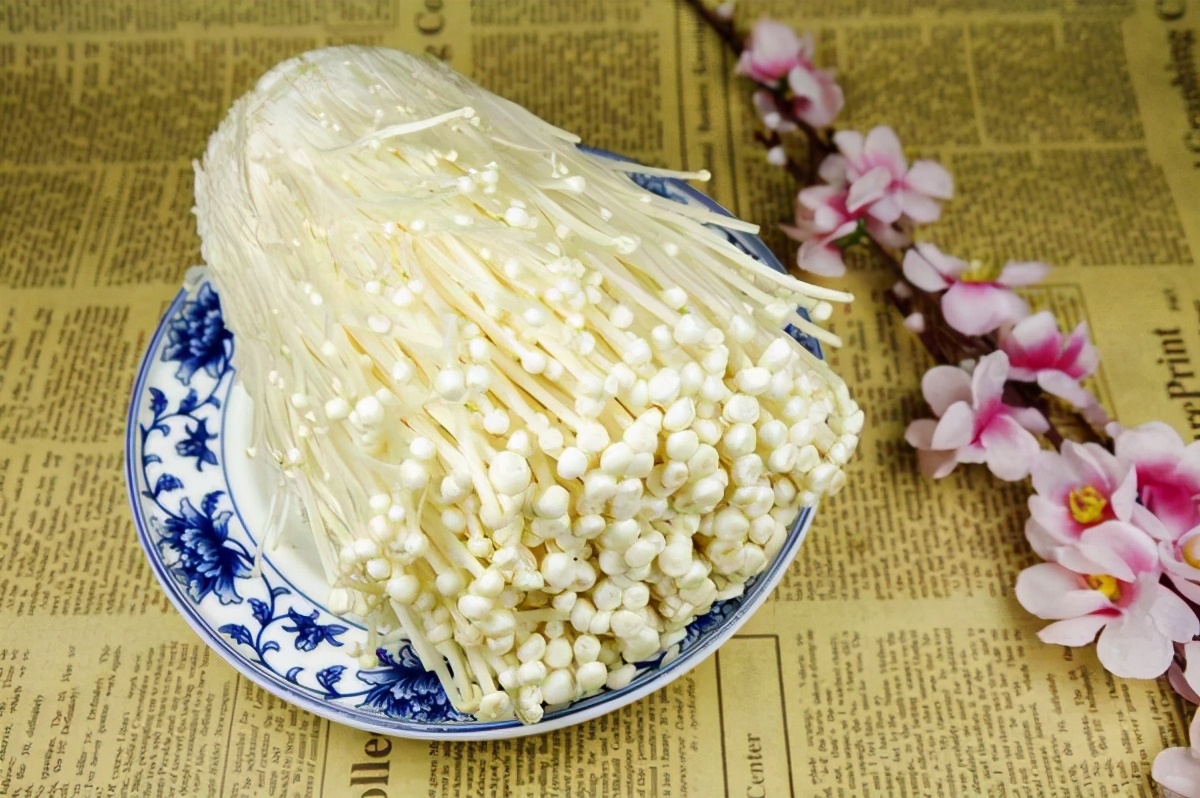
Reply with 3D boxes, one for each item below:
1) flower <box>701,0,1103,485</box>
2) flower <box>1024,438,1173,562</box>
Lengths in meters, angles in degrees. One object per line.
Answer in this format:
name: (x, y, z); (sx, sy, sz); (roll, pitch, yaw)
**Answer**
flower: (0.329, -0.138, 1.428); (0.221, 0.248, 0.740); (-36, 65, 8)
flower: (0.500, 0.085, 1.273); (0.106, 0.143, 0.062); (-21, 102, 16)
